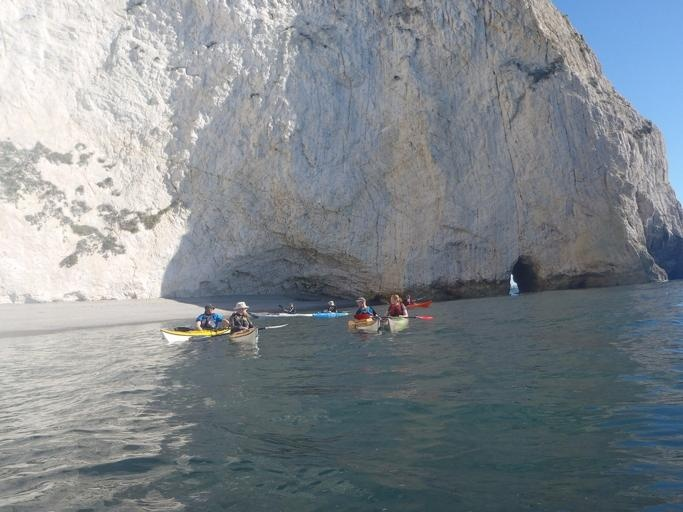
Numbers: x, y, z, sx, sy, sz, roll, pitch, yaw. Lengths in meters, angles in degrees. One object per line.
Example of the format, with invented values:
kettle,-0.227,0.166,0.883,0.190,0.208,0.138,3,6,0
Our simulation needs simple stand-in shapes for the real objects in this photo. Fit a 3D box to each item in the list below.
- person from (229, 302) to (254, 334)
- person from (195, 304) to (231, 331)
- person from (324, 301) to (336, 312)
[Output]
person,-3.379,2.014,19.684,0.730,0.898,1.499,-4,7,-11
person,-4.596,2.154,20.865,1.016,1.017,1.614,-4,7,-9
person,-0.588,2.507,29.204,0.447,0.818,0.414,14,17,19
